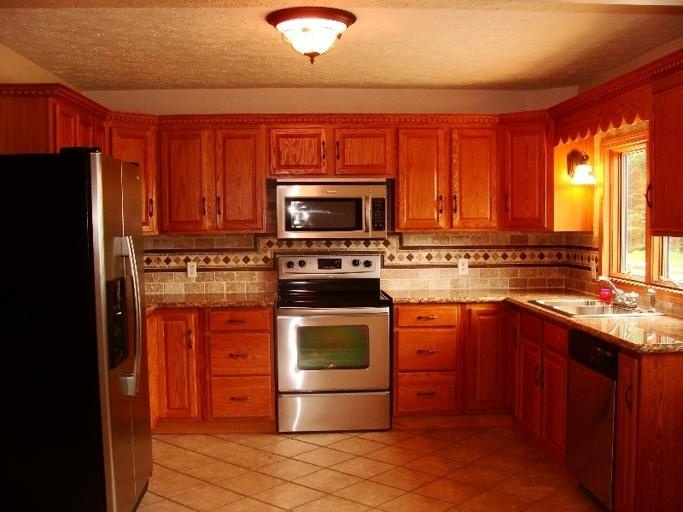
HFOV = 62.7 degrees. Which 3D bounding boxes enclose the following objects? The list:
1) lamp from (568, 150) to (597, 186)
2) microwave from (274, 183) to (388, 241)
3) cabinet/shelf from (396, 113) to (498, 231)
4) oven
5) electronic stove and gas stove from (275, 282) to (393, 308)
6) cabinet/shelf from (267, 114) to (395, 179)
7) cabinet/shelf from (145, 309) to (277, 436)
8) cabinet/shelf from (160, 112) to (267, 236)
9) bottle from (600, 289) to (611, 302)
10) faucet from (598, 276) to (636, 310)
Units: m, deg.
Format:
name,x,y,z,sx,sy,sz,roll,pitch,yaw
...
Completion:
name,x,y,z,sx,sy,sz,roll,pitch,yaw
lamp,1.852,-0.691,4.323,0.202,0.285,0.317,0,4,22
microwave,-0.192,-0.330,4.724,1.008,0.504,0.569,-2,-2,-26
cabinet/shelf,0.807,-0.645,4.738,1.054,0.901,0.376,-4,8,-26
oven,-0.087,0.793,4.694,1.257,1.221,0.898,0,-3,-2
electronic stove and gas stove,-0.070,0.299,4.518,0.905,0.188,0.525,-2,4,-5
cabinet/shelf,-0.029,-0.903,4.698,1.163,0.490,0.355,4,15,22
cabinet/shelf,-1.010,0.837,4.254,1.159,0.968,0.561,0,0,-4
cabinet/shelf,-0.993,-0.625,4.689,1.048,0.901,0.381,3,6,20
bottle,1.919,0.290,4.086,0.104,0.085,0.072,0,3,-2
faucet,1.996,0.241,4.025,0.249,0.196,0.487,0,4,27
